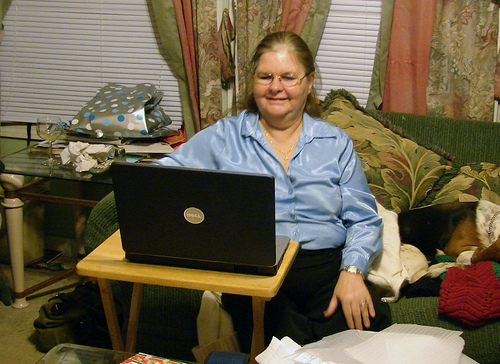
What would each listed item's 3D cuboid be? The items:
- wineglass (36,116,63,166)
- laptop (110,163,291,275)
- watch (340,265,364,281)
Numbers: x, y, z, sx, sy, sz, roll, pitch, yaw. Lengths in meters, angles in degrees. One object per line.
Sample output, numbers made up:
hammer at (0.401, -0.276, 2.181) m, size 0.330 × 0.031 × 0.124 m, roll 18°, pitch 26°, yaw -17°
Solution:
wineglass at (-1.112, -0.229, 2.323) m, size 0.144 × 0.249 × 0.134 m, roll 1°, pitch 11°, yaw -15°
laptop at (-0.135, 0.083, 1.412) m, size 0.629 × 0.415 × 0.339 m, roll 4°, pitch 23°, yaw 13°
watch at (0.415, 0.362, 1.684) m, size 0.094 × 0.051 × 0.035 m, roll 1°, pitch 10°, yaw 11°
